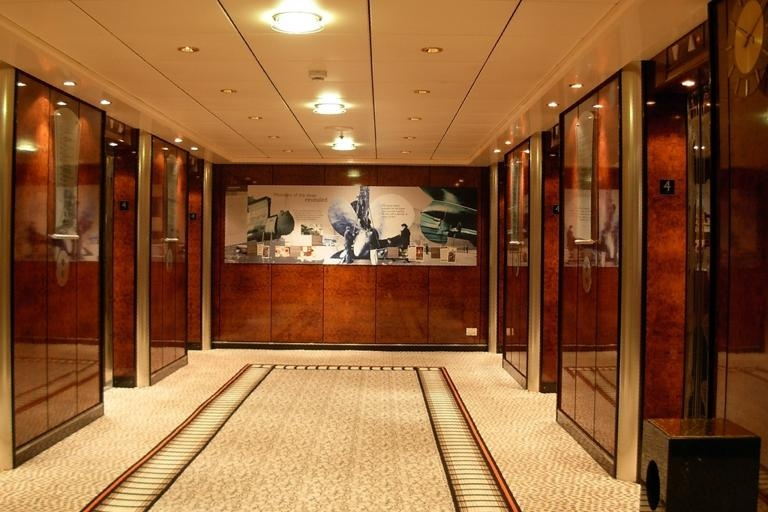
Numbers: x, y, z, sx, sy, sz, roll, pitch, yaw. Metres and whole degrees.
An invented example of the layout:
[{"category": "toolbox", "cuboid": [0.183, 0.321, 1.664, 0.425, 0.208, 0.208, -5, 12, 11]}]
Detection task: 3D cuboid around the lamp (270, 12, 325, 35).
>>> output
[{"category": "lamp", "cuboid": [-0.777, -2.115, 4.691, 0.464, 0.092, 0.291, 0, 4, -7]}]
